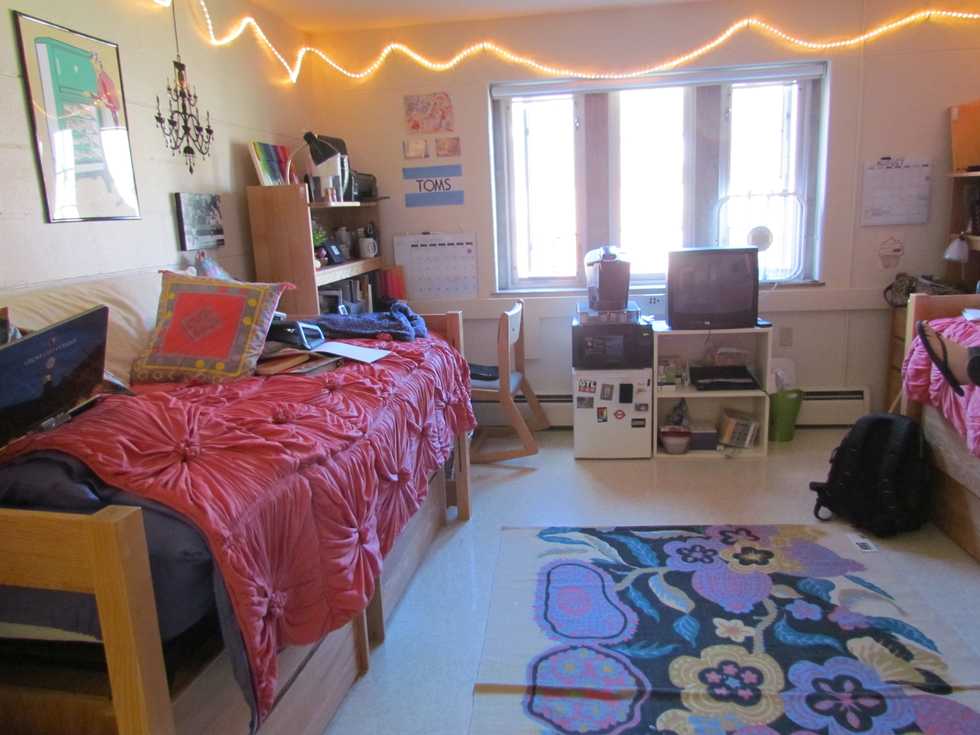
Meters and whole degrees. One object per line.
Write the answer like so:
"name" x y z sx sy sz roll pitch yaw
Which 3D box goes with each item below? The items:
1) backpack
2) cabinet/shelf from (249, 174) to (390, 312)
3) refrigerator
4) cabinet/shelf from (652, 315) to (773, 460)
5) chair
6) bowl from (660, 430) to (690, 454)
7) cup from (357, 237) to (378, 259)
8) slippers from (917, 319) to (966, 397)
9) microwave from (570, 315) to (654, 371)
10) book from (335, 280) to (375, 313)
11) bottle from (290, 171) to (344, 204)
"backpack" 1.823 0.535 3.453 0.262 0.491 0.485 9 1 -37
"cabinet/shelf" -0.978 -0.694 4.090 0.282 0.847 0.862 1 15 8
"refrigerator" 0.696 0.196 4.470 0.601 0.661 0.471 1 12 8
"cabinet/shelf" 1.355 0.129 4.416 0.814 0.987 0.528 0 4 7
"chair" 0.113 0.054 4.459 0.472 0.966 0.829 0 17 4
"bowl" 1.097 0.438 4.304 0.126 0.101 0.157 0 -2 6
"cup" -0.783 -0.762 4.657 0.136 0.129 0.091 2 8 -8
"slippers" 1.987 -0.046 3.224 0.034 0.068 0.301 9 52 -23
"microwave" 0.699 -0.135 4.105 0.324 0.209 0.339 0 5 3
"book" -0.833 -0.428 4.419 0.164 0.290 0.162 16 25 38
"bottle" -0.987 -0.970 4.120 0.289 0.116 0.220 2 27 -5
